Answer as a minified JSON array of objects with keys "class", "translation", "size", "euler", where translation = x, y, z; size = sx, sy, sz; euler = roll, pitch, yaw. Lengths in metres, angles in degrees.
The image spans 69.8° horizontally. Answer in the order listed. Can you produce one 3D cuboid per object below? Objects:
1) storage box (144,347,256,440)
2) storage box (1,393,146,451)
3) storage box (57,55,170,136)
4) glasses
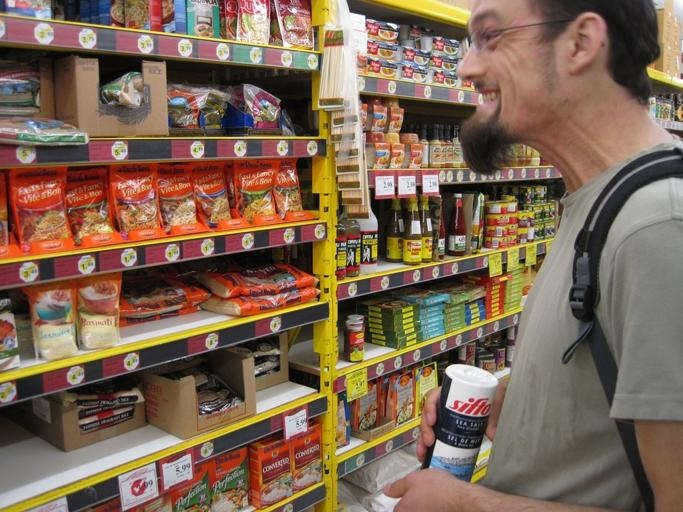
[{"class":"storage box","translation":[-0.665,0.539,2.152],"size":[0.362,0.225,0.354],"euler":[6,12,43]},{"class":"storage box","translation":[-1.032,0.594,1.999],"size":[0.268,0.129,0.368],"euler":[2,1,36]},{"class":"storage box","translation":[-0.856,-0.533,1.820],"size":[0.337,0.278,0.328],"euler":[-7,18,-43]},{"class":"glasses","translation":[0.376,-0.418,0.943],"size":[0.117,0.031,0.117],"euler":[-21,21,-21]}]
